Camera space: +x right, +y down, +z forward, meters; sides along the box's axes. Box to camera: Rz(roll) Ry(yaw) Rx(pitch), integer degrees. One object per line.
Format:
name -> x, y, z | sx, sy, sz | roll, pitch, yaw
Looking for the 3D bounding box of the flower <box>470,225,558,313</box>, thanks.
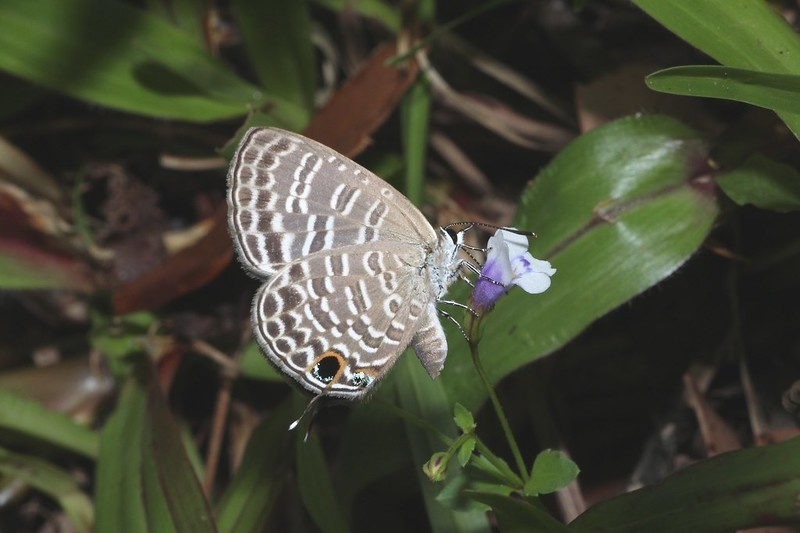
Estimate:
flower -> 0.227, 0.016, 1.724 | 0.162, 0.072, 0.170 | -14, 8, 26
